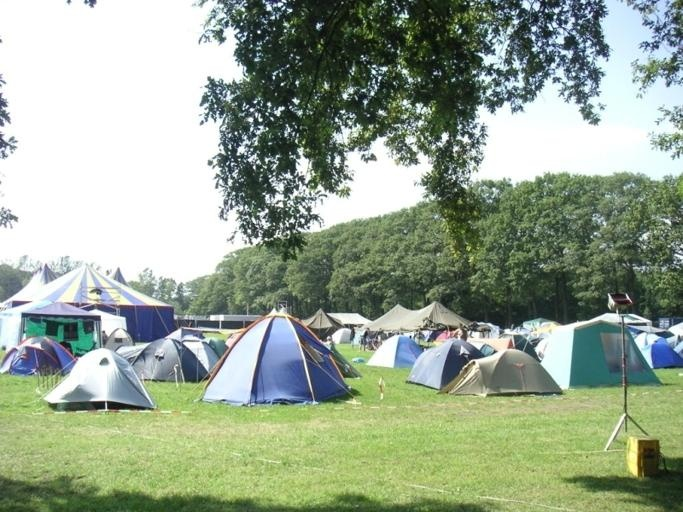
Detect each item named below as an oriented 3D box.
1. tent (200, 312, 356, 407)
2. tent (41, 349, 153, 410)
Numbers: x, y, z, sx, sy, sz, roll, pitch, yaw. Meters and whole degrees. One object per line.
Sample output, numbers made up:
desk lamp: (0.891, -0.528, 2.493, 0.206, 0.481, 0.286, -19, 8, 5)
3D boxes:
tent: (-2.035, 3.285, 23.612, 4.285, 3.016, 5.056, 0, -10, 3)
tent: (-6.622, 3.512, 20.881, 1.912, 1.084, 1.993, 6, -8, -37)
